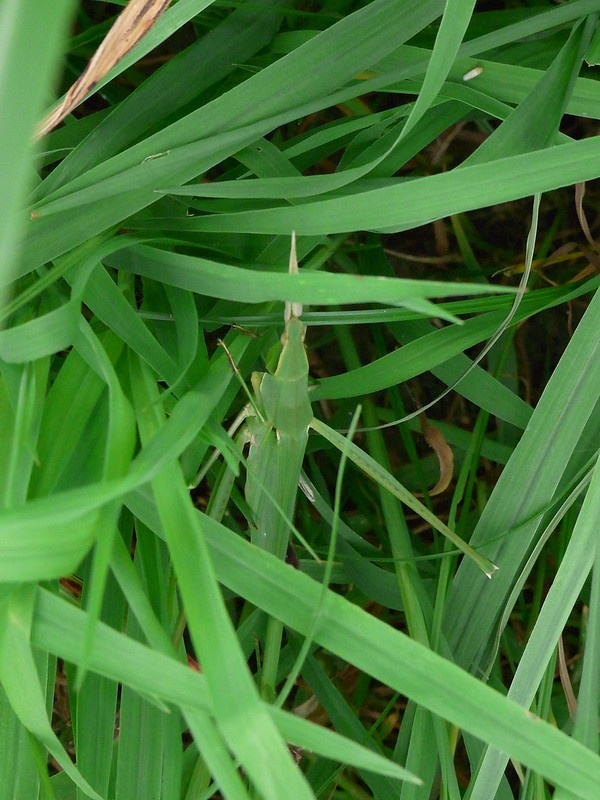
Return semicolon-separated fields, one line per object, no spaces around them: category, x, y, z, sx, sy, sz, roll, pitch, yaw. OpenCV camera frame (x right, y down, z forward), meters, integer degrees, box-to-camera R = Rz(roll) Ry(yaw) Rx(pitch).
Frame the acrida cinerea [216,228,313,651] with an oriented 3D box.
acrida cinerea;-0.013;0.006;0.291;0.052;0.083;0.142;1;-88;-3
